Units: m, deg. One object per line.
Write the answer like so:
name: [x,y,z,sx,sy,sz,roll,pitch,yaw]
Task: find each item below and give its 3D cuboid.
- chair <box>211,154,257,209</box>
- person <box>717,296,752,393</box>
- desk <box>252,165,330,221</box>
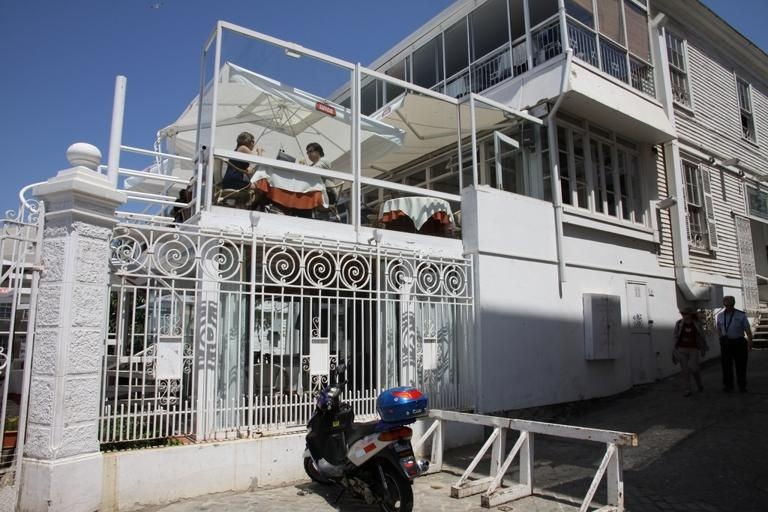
chair: [-2.793,-1.297,10.513,0.808,1.179,0.859,3,-2,2]
person: [7.973,1.967,12.768,0.679,2.145,1.240,-9,-14,31]
desk: [-1.805,-1.192,10.442,0.912,0.581,0.260,9,-18,-30]
